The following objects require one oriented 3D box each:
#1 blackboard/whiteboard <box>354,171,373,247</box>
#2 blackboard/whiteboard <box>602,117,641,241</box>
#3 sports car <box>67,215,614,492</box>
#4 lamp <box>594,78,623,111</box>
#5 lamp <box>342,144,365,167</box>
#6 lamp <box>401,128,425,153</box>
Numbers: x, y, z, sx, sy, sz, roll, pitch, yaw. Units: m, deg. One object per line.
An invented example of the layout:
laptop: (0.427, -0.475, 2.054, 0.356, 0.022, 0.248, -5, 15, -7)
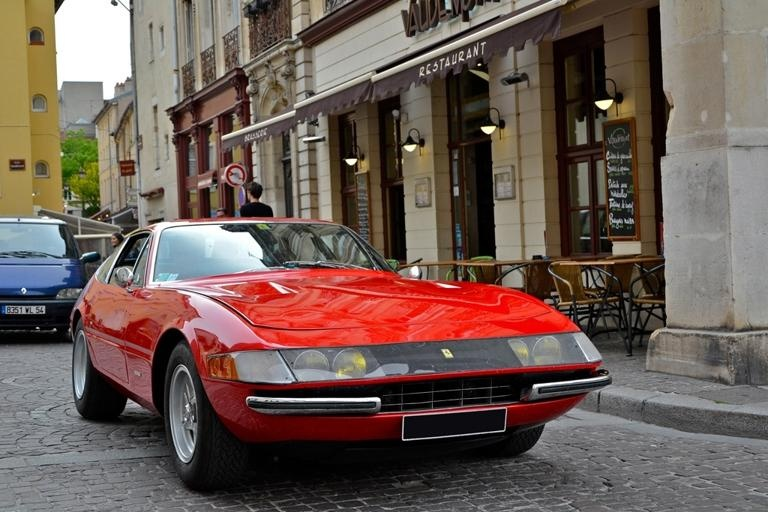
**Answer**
blackboard/whiteboard: (-0.581, -1.403, 18.080, 0.597, 1.629, 0.074, 2, 7, 35)
blackboard/whiteboard: (4.005, -1.271, 11.339, 0.188, 2.052, 0.978, -1, 11, -25)
sports car: (-0.615, 0.646, 5.041, 2.049, 1.679, 3.584, -5, 11, -44)
lamp: (3.818, -2.793, 11.575, 0.365, 0.617, 0.732, 3, 9, -2)
lamp: (-0.875, -2.705, 18.171, 0.526, 0.569, 0.739, -3, -4, 45)
lamp: (0.649, -2.714, 15.720, 0.485, 0.525, 0.664, -5, -5, 43)
